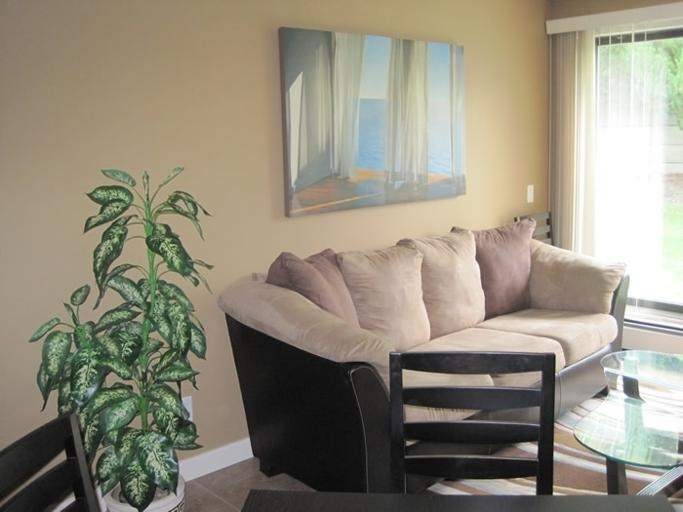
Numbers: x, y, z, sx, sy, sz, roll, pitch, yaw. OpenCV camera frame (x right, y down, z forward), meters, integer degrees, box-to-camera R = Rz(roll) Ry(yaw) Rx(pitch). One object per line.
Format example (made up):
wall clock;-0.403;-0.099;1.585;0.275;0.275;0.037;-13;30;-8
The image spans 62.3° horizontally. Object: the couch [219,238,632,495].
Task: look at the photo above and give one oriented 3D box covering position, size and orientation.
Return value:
couch;0.663;0.498;3.411;2.632;1.254;1.145;-7;8;-40
